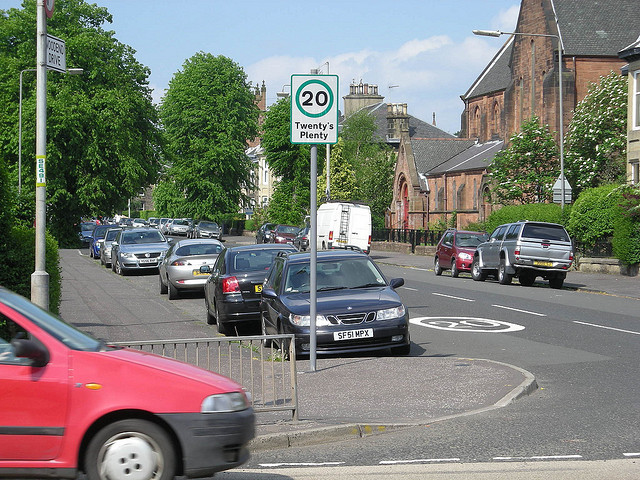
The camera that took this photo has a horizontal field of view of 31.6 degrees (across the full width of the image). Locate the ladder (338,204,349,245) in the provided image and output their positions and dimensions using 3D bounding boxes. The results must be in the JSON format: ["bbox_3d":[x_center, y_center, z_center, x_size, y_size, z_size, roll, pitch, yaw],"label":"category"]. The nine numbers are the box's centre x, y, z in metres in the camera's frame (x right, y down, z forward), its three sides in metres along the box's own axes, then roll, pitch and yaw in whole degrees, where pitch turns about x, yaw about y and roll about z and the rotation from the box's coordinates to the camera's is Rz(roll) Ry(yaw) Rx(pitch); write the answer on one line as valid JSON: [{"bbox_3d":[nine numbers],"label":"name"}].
[{"bbox_3d":[1.005,-0.613,46.887,0.306,1.653,0.361,1,3,21],"label":"ladder"}]

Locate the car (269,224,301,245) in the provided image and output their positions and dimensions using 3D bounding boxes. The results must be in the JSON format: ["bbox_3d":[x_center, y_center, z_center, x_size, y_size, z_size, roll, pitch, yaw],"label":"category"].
[{"bbox_3d":[-1.926,-0.261,60.380,1.032,0.708,2.171,0,-3,-14],"label":"car"}]

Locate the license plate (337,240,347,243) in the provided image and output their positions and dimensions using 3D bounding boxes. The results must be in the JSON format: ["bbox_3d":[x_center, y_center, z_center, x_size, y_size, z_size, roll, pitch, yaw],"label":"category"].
[{"bbox_3d":[0.920,0.090,46.809,0.372,0.104,0.108,1,3,26],"label":"license plate"}]

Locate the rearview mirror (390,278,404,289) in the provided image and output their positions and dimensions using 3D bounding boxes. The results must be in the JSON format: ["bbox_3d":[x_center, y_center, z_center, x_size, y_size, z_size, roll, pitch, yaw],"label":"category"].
[{"bbox_3d":[1.440,0.831,21.593,0.241,0.160,0.176,-6,1,-45],"label":"rearview mirror"}]

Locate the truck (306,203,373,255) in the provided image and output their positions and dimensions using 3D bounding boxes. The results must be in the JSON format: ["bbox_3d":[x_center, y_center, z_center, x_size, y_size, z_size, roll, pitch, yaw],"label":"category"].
[{"bbox_3d":[0.840,-0.383,48.990,2.000,2.013,4.281,6,-1,-13],"label":"truck"}]

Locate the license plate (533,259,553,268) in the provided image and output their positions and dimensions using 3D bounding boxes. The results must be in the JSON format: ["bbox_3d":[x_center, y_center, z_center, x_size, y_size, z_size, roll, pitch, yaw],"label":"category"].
[{"bbox_3d":[6.723,0.728,34.183,0.554,0.228,0.067,0,3,14],"label":"license plate"}]

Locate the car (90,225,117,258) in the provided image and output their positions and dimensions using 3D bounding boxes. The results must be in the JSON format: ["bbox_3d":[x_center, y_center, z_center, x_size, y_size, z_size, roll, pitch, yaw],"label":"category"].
[{"bbox_3d":[-9.727,0.091,51.156,1.017,0.926,2.269,0,-2,-12],"label":"car"}]

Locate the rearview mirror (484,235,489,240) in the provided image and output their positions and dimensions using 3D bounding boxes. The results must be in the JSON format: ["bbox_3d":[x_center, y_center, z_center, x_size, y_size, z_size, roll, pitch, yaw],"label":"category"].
[{"bbox_3d":[5.851,-0.067,39.841,0.198,0.171,0.046,-3,2,17],"label":"rearview mirror"}]

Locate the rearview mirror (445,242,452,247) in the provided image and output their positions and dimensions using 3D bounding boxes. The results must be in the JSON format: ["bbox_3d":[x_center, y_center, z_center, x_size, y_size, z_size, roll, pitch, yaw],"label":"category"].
[{"bbox_3d":[4.601,0.192,40.551,0.205,0.190,0.093,-2,-3,31],"label":"rearview mirror"}]

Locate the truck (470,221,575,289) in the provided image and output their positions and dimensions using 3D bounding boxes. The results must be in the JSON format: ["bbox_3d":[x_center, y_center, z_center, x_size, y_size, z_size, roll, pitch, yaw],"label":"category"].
[{"bbox_3d":[6.399,0.437,35.601,1.730,1.326,3.236,3,4,-14],"label":"truck"}]

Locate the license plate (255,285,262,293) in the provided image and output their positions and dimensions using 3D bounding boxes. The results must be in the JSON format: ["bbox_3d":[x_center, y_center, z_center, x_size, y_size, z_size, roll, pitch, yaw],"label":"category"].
[{"bbox_3d":[-1.254,1.026,23.366,0.174,0.160,0.016,0,-10,-3],"label":"license plate"}]

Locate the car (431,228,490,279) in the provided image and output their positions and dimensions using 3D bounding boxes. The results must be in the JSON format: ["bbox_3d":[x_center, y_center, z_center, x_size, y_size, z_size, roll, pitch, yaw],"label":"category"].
[{"bbox_3d":[5.042,0.458,40.059,1.361,1.053,2.152,1,-2,-19],"label":"car"}]

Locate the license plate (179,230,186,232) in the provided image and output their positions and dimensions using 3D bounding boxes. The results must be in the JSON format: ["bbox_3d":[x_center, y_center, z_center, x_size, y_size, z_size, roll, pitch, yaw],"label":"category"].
[{"bbox_3d":[-10.292,-0.611,84.753,0.382,0.157,0.423,-1,3,-14],"label":"license plate"}]
